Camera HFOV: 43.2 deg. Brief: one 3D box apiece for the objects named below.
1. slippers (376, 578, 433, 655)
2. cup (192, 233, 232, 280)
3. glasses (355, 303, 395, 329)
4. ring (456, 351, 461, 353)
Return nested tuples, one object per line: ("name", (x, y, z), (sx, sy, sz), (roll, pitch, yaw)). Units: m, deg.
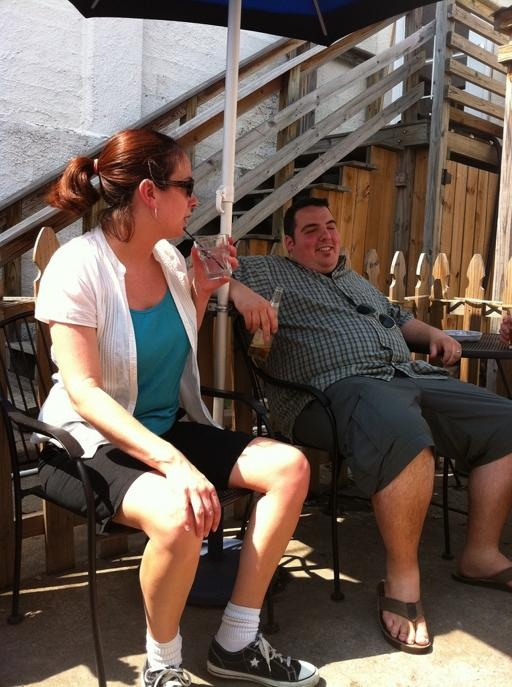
("slippers", (0.475, 0.846, 2.043), (0.152, 0.099, 0.388), (3, 4, 7))
("cup", (-0.148, -0.280, 2.114), (0.139, 0.133, 0.129), (-13, 8, 2))
("glasses", (0.502, -0.113, 2.686), (0.127, 0.035, 0.122), (27, -49, -30))
("ring", (0.848, 0.037, 2.684), (0.009, 0.011, 0.003), (0, -26, 1))
